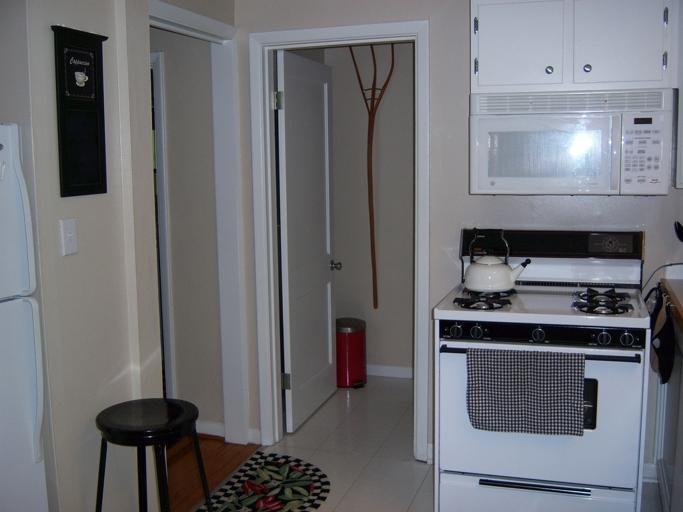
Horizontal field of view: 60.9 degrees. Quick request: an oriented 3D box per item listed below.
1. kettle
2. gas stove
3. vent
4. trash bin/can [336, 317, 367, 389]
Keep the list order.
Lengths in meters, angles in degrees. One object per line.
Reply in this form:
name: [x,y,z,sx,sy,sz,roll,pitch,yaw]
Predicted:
kettle: [0.846,0.031,3.141,0.339,0.336,0.254,1,5,15]
gas stove: [0.968,0.313,2.926,0.955,0.166,0.377,1,11,12]
vent: [1.185,-0.595,3.030,0.998,0.532,0.096,1,9,13]
trash bin/can: [0.081,0.807,4.772,0.239,0.529,0.251,-1,9,0]
